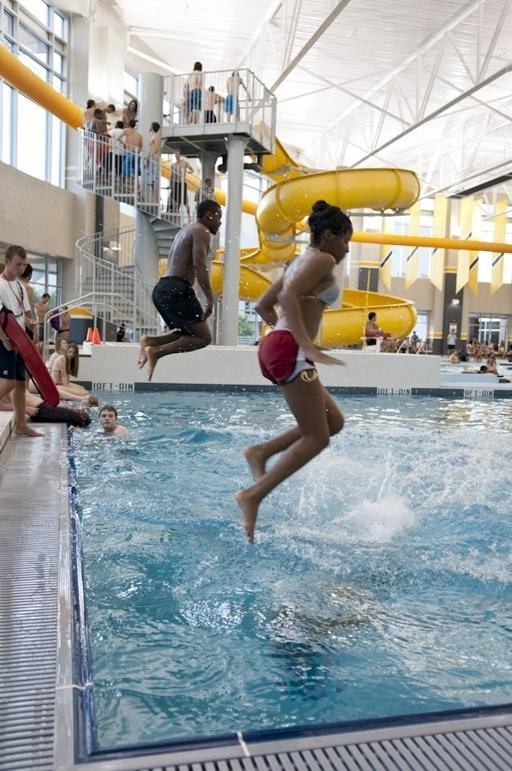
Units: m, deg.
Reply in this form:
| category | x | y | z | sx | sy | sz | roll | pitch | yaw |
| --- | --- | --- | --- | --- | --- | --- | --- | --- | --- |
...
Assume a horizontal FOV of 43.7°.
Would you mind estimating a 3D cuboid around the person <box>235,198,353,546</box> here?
| category | x | y | z | sx | sy | sz | roll | pitch | yaw |
| --- | --- | --- | --- | --- | --- | --- | --- | --- | --- |
| person | 0.151 | -0.016 | 2.529 | 0.413 | 1.444 | 0.701 | 4 | 7 | 7 |

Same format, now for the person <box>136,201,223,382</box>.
| category | x | y | z | sx | sy | sz | roll | pitch | yaw |
| --- | --- | --- | --- | --- | --- | --- | --- | --- | --- |
| person | -0.500 | -0.635 | 4.247 | 0.497 | 1.220 | 0.723 | 2 | 7 | -10 |
